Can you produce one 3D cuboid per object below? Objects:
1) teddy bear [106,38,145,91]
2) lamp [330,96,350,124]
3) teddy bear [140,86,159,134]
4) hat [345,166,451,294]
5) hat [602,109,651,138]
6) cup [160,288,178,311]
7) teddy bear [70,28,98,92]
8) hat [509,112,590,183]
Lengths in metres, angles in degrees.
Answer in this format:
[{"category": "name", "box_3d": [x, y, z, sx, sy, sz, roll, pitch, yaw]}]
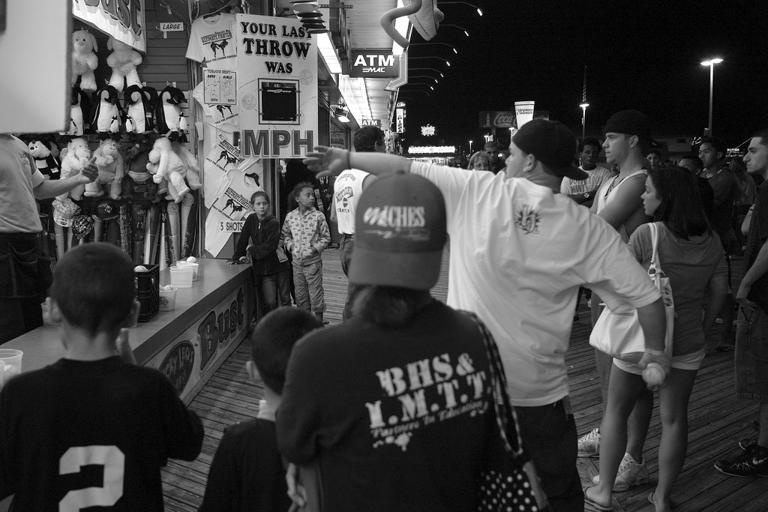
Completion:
[{"category": "teddy bear", "box_3d": [-3.542, -2.601, 8.791, 0.457, 0.720, 0.648, -2, 9, -22]}, {"category": "lamp", "box_3d": [-1.313, -4.389, 19.197, 0.421, 0.373, 0.697, 19, -1, -4]}, {"category": "teddy bear", "box_3d": [-3.090, -1.959, 8.548, 0.179, 0.499, 0.355, -3, 9, 21]}, {"category": "hat", "box_3d": [0.056, -0.065, 2.385, 0.287, 0.245, 0.469, 5, 48, 5]}, {"category": "hat", "box_3d": [1.721, -0.919, 4.558, 0.261, 0.178, 0.218, 2, 24, 22]}, {"category": "cup", "box_3d": [-1.906, 0.377, 5.648, 0.121, 0.189, 0.177, 4, 9, 14]}, {"category": "teddy bear", "box_3d": [-4.018, -2.633, 8.640, 0.298, 0.831, 0.627, -2, 9, -24]}, {"category": "hat", "box_3d": [0.871, -0.558, 3.380, 0.403, 0.303, 0.212, -1, 9, -19]}]
